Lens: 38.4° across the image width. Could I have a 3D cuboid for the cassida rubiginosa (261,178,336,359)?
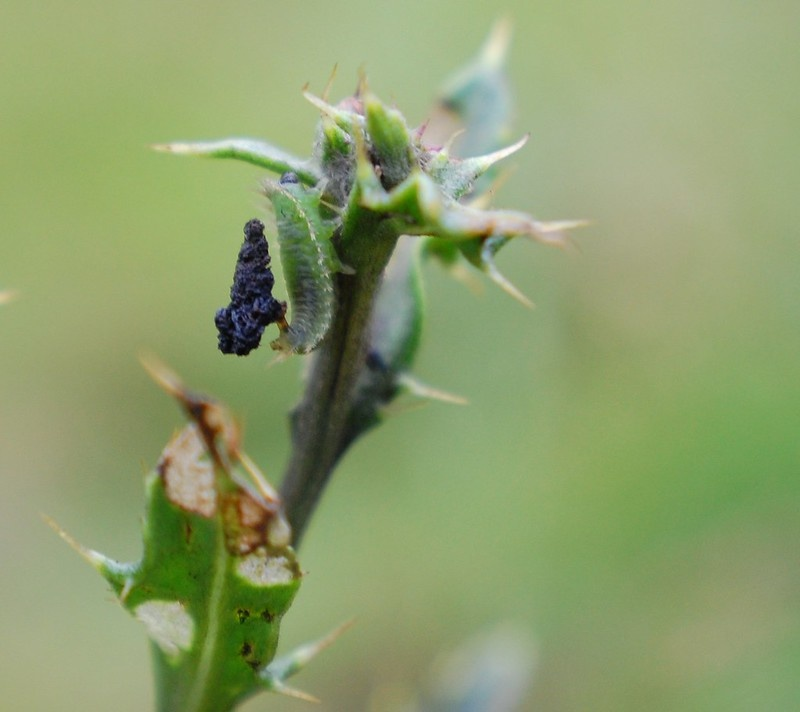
[{"bbox_3d":[-0.102,-0.094,1.237,0.077,0.184,0.045,-7,15,-8],"label":"cassida rubiginosa"}]
